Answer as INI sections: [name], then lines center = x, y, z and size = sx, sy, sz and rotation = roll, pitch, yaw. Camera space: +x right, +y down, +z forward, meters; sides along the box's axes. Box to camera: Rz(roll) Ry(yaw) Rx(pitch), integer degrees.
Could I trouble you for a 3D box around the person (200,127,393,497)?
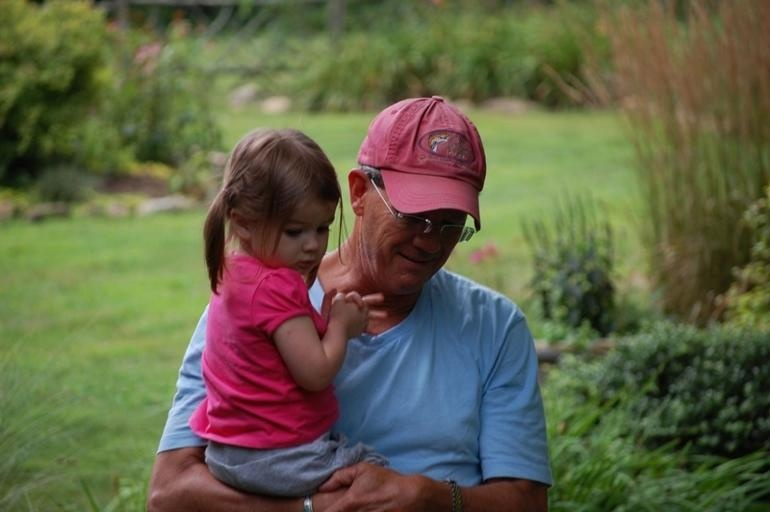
[person]
center = -0.513, 0.293, 5.221
size = 0.807, 1.846, 0.281
rotation = 0, 5, -4
